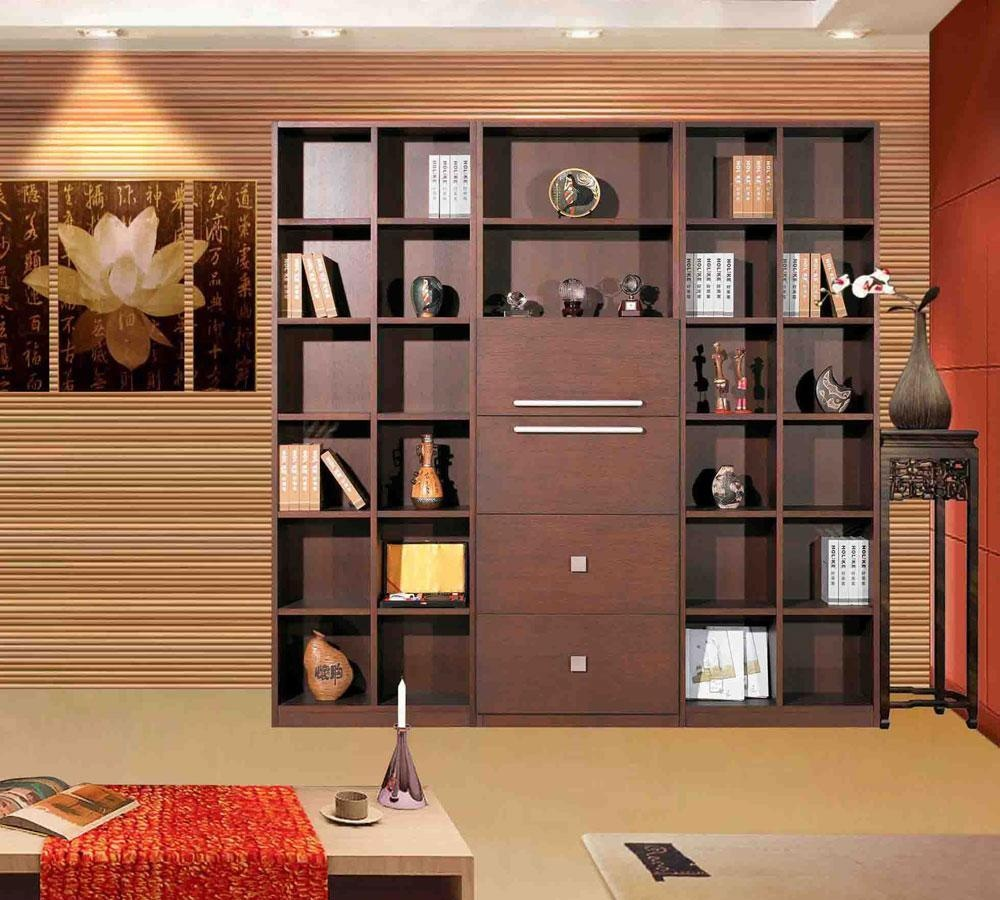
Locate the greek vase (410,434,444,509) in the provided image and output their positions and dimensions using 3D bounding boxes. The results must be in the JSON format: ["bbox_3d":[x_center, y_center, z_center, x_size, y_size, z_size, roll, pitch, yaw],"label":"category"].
[{"bbox_3d":[-0.331,0.093,5.282,0.145,0.301,0.275,-1,11,-3],"label":"greek vase"}]

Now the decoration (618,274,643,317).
[{"bbox_3d":[0.573,-0.679,5.256,0.099,0.170,0.268,1,11,6],"label":"decoration"}]

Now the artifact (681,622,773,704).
[{"bbox_3d":[0.999,0.935,5.207,0.371,0.290,0.131,0,10,4],"label":"artifact"}]

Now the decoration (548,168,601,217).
[{"bbox_3d":[0.329,-1.125,5.263,0.212,0.220,0.216,0,0,0],"label":"decoration"}]

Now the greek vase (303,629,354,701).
[{"bbox_3d":[-0.754,0.948,5.231,0.226,0.305,0.175,-1,0,-10],"label":"greek vase"}]

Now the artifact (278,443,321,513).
[{"bbox_3d":[-0.875,0.132,5.337,0.243,0.342,0.245,0,0,0],"label":"artifact"}]

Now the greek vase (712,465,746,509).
[{"bbox_3d":[1.004,0.170,5.281,0.138,0.187,0.094,-4,-3,1],"label":"greek vase"}]

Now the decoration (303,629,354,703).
[{"bbox_3d":[-0.753,0.953,5.234,0.216,0.301,0.175,-1,-7,-11],"label":"decoration"}]

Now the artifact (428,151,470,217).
[{"bbox_3d":[-0.224,-1.145,5.205,0.177,0.261,0.058,2,10,11],"label":"artifact"}]

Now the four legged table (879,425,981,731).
[{"bbox_3d":[1.880,0.541,5.233,0.447,1.316,0.685,3,11,18],"label":"four legged table"}]

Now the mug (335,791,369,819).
[{"bbox_3d":[-0.433,1.048,3.526,0.069,0.044,0.071,1,-2,15],"label":"mug"}]

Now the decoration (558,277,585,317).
[{"bbox_3d":[0.316,-0.673,5.279,0.111,0.155,0.154,-1,11,-1],"label":"decoration"}]

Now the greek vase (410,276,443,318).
[{"bbox_3d":[-0.323,-0.661,5.201,0.163,0.196,0.167,0,3,-10],"label":"greek vase"}]

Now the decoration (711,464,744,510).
[{"bbox_3d":[1.003,0.174,5.219,0.139,0.177,0.158,1,11,5],"label":"decoration"}]

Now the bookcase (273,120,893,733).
[{"bbox_3d":[0.296,-0.059,5.233,2.588,2.592,0.414,0,-4,-1],"label":"bookcase"}]

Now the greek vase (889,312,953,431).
[{"bbox_3d":[1.788,-0.327,5.053,0.167,0.479,0.187,-5,11,-22],"label":"greek vase"}]

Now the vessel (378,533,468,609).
[{"bbox_3d":[-0.342,0.576,5.316,0.363,0.262,0.190,2,-28,-20],"label":"vessel"}]
